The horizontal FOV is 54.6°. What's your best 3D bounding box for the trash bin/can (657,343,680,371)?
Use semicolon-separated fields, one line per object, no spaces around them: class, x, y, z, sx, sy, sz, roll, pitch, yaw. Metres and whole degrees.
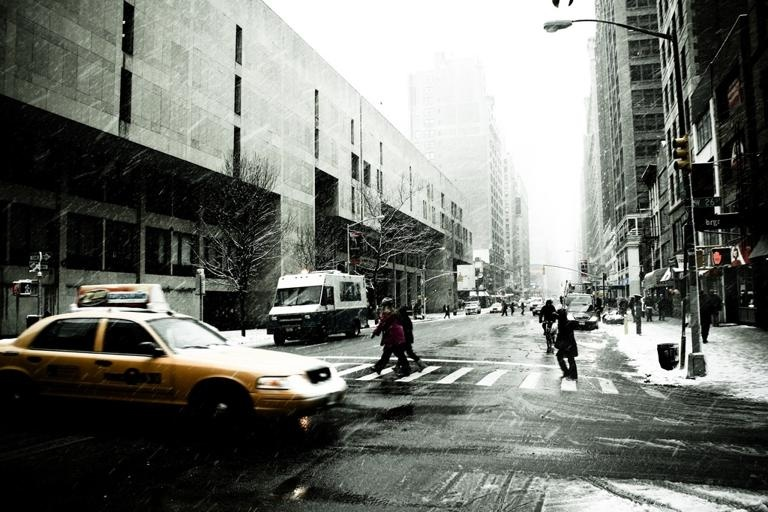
trash bin/can;10.223;3.601;26.717;0.910;1.023;0.445;-8;12;-36

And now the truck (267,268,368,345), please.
truck;-3.304;2.709;38.409;2.658;3.072;5.536;-4;-9;24

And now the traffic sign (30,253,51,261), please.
traffic sign;-15.747;0.037;34.156;0.761;0.404;1.423;-5;10;-21

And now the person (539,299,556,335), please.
person;6.885;2.545;31.315;0.910;1.266;2.013;-1;-21;14

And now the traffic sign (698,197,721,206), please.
traffic sign;11.264;-1.860;25.905;0.769;0.415;0.656;3;11;23

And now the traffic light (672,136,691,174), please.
traffic light;10.430;-3.573;26.005;0.601;1.295;0.684;2;10;18

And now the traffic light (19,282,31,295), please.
traffic light;-16.351;1.485;34.061;0.394;0.757;0.505;-2;1;3

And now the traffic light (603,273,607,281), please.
traffic light;22.484;2.105;75.755;0.276;0.234;1.005;-22;0;25

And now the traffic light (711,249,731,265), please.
traffic light;17.331;0.031;38.147;0.750;0.760;0.429;-1;-4;5

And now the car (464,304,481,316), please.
car;9.598;5.790;80.488;0.952;0.777;1.603;-4;-14;16
